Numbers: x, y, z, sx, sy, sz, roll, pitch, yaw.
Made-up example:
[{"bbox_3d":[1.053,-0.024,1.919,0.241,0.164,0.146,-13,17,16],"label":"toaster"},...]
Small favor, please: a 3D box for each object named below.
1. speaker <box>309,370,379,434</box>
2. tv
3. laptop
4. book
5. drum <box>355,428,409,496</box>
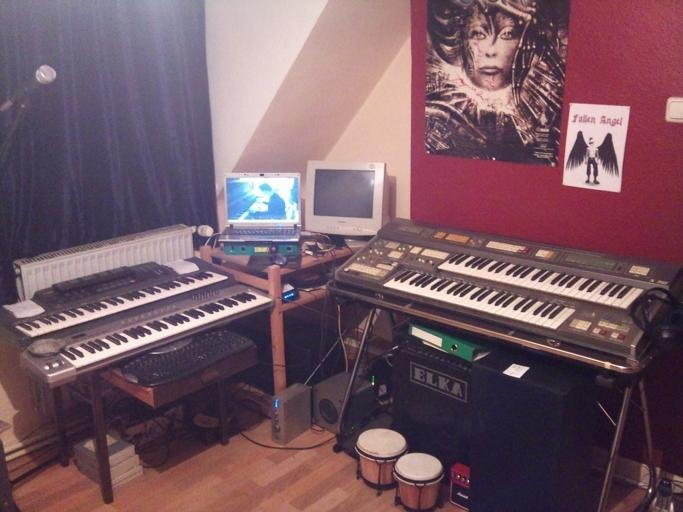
[{"bbox_3d":[0.016,0.897,3.341,0.354,0.331,0.236,12,20,38],"label":"speaker"},{"bbox_3d":[0.057,-0.381,3.784,0.739,0.733,0.441,5,12,16],"label":"tv"},{"bbox_3d":[-0.494,-0.321,3.478,0.669,0.495,0.381,0,22,1],"label":"laptop"},{"bbox_3d":[-1.305,1.105,3.018,0.300,0.159,0.226,10,17,38],"label":"book"},{"bbox_3d":[0.201,1.082,2.960,0.267,0.252,0.280,12,20,32],"label":"drum"}]
